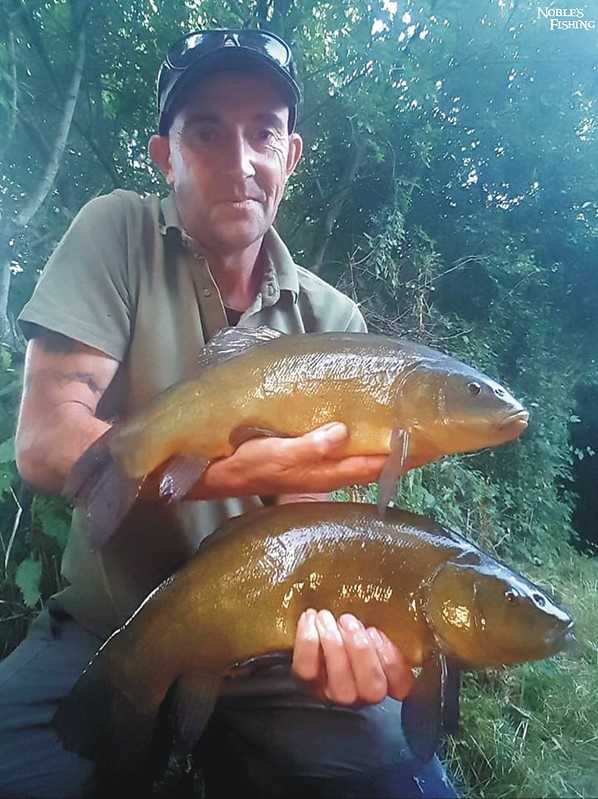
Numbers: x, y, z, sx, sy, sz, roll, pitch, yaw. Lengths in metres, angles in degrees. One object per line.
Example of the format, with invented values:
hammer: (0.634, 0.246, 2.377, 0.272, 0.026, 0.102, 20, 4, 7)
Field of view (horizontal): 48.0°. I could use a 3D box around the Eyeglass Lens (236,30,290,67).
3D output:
Eyeglass Lens: (-0.074, -0.812, 1.552, 0.136, 0.073, 0.034, 9, -10, -12)
